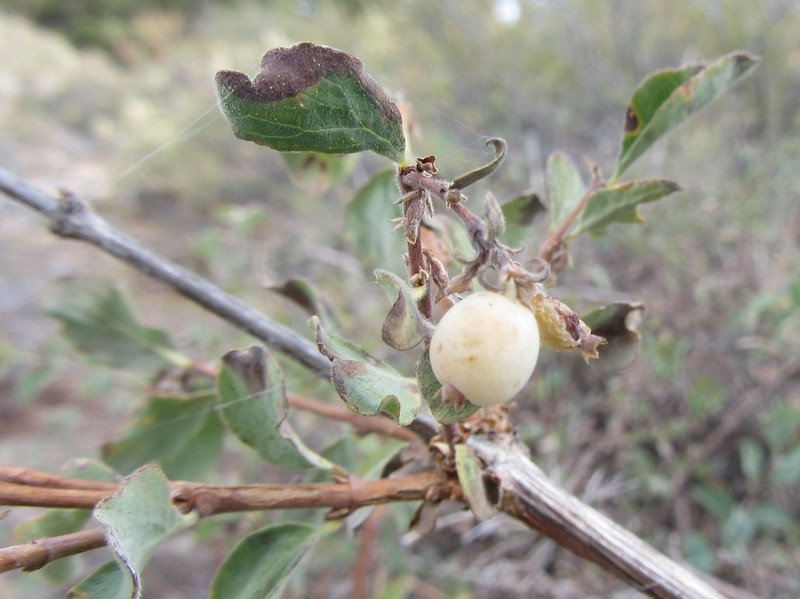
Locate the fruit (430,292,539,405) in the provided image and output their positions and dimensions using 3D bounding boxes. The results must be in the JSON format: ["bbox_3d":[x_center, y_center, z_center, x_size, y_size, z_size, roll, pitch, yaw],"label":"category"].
[{"bbox_3d":[0.130,0.071,1.220,0.156,0.196,0.163,11,-2,35],"label":"fruit"}]
